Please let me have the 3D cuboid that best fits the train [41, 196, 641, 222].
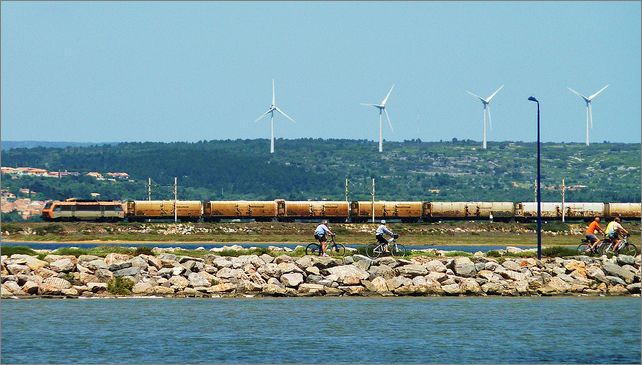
[{"bbox_3d":[2.100,6.690,352.545,139.577,6.136,4.948,0,0,-4],"label":"train"}]
